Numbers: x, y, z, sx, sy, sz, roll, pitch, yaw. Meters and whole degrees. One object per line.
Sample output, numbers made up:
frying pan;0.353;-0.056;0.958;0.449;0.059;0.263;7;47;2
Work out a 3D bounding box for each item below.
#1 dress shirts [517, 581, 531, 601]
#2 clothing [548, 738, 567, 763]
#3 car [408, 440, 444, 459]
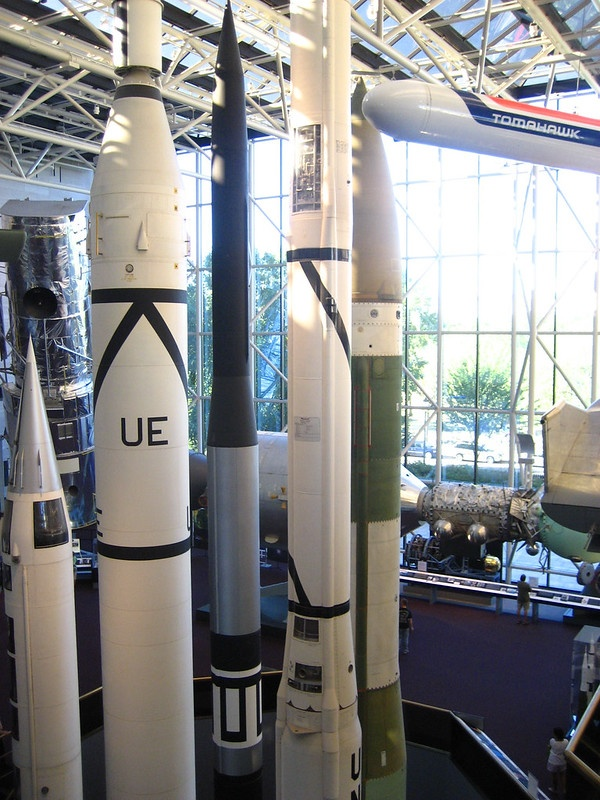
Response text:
dress shirts;4.334;3.716;15.051;0.245;0.444;0.389;4;5;16
clothing;3.288;4.524;9.935;0.208;0.343;0.446;4;5;19
car;4.051;1.711;25.615;1.257;0.594;0.719;-3;4;3
